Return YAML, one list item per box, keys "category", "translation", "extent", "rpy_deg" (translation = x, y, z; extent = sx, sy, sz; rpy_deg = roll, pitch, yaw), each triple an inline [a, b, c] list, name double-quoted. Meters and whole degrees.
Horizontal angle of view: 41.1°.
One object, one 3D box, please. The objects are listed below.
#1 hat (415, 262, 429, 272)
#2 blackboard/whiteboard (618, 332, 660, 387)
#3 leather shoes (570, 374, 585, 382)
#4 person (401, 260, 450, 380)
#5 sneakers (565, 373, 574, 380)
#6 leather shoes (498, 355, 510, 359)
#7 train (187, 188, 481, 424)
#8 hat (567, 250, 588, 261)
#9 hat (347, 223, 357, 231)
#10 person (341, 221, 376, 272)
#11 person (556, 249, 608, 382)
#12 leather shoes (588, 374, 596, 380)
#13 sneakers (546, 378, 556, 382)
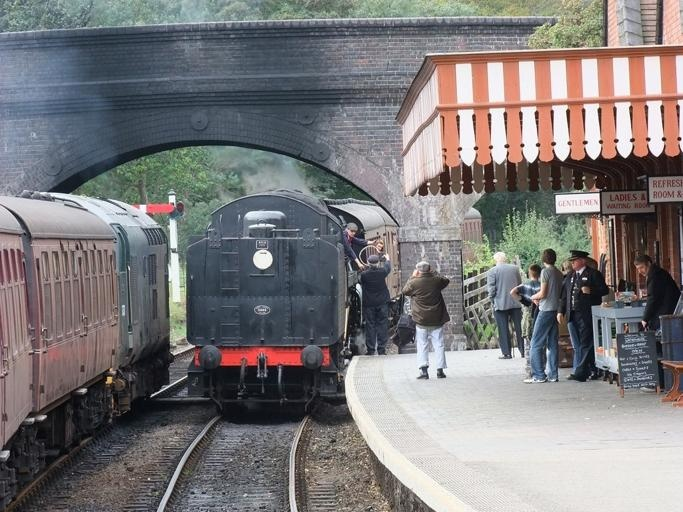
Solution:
- category: "hat"
  translation: [1.406, 0.172, 15.477]
  extent: [0.174, 0.151, 0.136]
  rpy_deg: [5, 15, 20]
- category: "blackboard/whiteboard"
  translation: [4.333, 1.495, 13.202]
  extent: [0.689, 1.031, 0.106]
  rpy_deg: [-1, 1, 0]
- category: "leather shoes"
  translation: [3.936, 1.995, 15.052]
  extent: [0.268, 0.129, 0.094]
  rpy_deg: [9, 3, 22]
- category: "person"
  translation: [1.492, 1.106, 15.647]
  extent: [0.722, 2.039, 0.659]
  rpy_deg: [-1, 5, 4]
- category: "sneakers"
  translation: [3.868, 2.016, 15.260]
  extent: [0.099, 0.131, 0.321]
  rpy_deg: [0, 4, 8]
- category: "leather shoes"
  translation: [3.236, 1.990, 17.866]
  extent: [0.199, 0.096, 0.071]
  rpy_deg: [4, 3, 6]
- category: "train"
  translation: [-1.340, 1.005, 17.948]
  extent: [3.209, 4.540, 3.035]
  rpy_deg: [-1, 5, -2]
- category: "hat"
  translation: [3.924, -0.031, 14.786]
  extent: [0.297, 0.141, 0.258]
  rpy_deg: [-3, 2, -16]
- category: "hat"
  translation: [0.258, -0.621, 19.455]
  extent: [0.188, 0.209, 0.157]
  rpy_deg: [9, -4, -39]
- category: "person"
  translation: [0.342, -0.376, 19.472]
  extent: [0.802, 0.551, 1.643]
  rpy_deg: [-8, 6, 8]
- category: "person"
  translation: [3.951, 0.977, 14.922]
  extent: [0.728, 2.214, 0.788]
  rpy_deg: [0, -2, -42]
- category: "leather shoes"
  translation: [4.210, 2.000, 15.116]
  extent: [0.144, 0.118, 0.084]
  rpy_deg: [-1, -10, 4]
- category: "sneakers"
  translation: [3.498, 2.032, 14.923]
  extent: [0.165, 0.059, 0.127]
  rpy_deg: [0, 5, 9]
